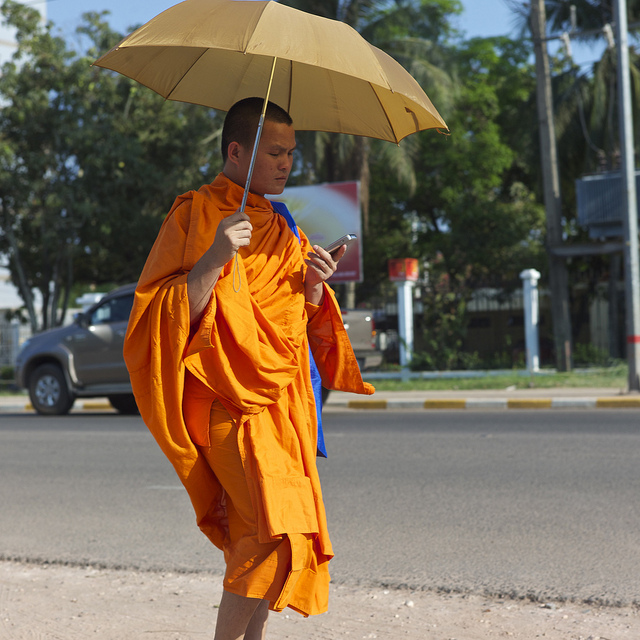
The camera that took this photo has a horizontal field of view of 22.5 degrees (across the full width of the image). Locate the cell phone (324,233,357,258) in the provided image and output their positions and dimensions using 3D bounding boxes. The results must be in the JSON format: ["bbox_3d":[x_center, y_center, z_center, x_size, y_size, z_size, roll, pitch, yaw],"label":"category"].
[{"bbox_3d":[0.138,-0.504,11.044,0.232,0.054,0.120,-30,14,18],"label":"cell phone"}]

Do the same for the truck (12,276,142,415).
[{"bbox_3d":[-3.015,0.410,21.325,2.638,1.455,1.536,2,-1,18],"label":"truck"}]
